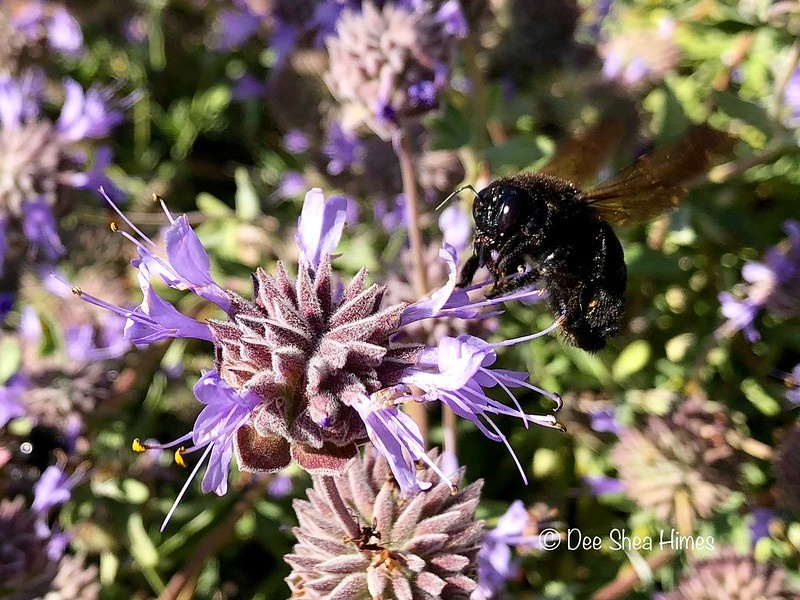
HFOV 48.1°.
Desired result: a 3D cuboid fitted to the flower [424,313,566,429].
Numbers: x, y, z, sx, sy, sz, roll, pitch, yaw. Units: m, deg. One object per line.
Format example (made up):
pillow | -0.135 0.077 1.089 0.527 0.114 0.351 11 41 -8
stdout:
flower | 0.253 0.241 3.457 0.373 0.607 0.248 -8 100 -10
